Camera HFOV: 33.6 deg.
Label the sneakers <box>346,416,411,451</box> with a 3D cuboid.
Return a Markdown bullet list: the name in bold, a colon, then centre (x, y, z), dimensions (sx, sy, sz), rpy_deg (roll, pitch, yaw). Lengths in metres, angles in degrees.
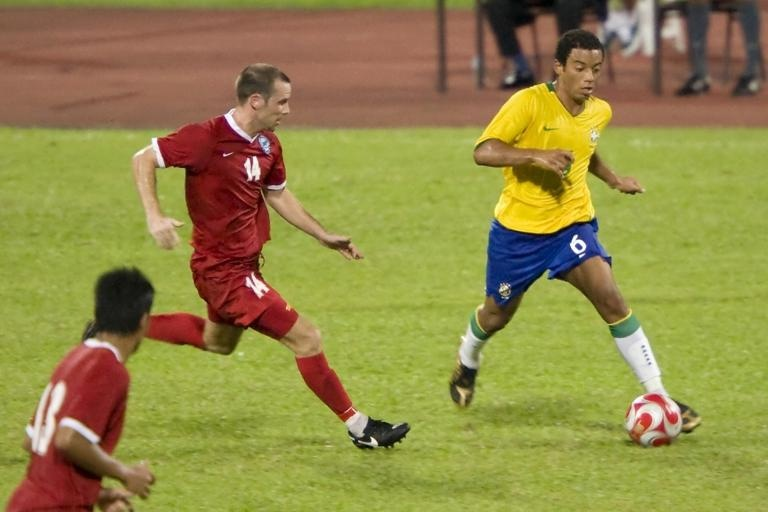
- **sneakers**: centre (-0.026, 1.234, 8.802), dimensions (0.488, 0.242, 0.166), rpy_deg (-6, 45, 20)

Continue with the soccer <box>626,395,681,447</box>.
- **soccer**: centre (1.867, 1.145, 8.832), dimensions (0.359, 0.343, 0.229), rpy_deg (3, 13, 19)

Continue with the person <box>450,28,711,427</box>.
- **person**: centre (1.190, -0.239, 9.097), dimensions (1.496, 2.711, 0.855), rpy_deg (-1, 12, 2)

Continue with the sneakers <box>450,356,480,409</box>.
- **sneakers**: centre (0.591, 0.941, 9.331), dimensions (0.160, 0.363, 0.181), rpy_deg (3, -7, 1)
